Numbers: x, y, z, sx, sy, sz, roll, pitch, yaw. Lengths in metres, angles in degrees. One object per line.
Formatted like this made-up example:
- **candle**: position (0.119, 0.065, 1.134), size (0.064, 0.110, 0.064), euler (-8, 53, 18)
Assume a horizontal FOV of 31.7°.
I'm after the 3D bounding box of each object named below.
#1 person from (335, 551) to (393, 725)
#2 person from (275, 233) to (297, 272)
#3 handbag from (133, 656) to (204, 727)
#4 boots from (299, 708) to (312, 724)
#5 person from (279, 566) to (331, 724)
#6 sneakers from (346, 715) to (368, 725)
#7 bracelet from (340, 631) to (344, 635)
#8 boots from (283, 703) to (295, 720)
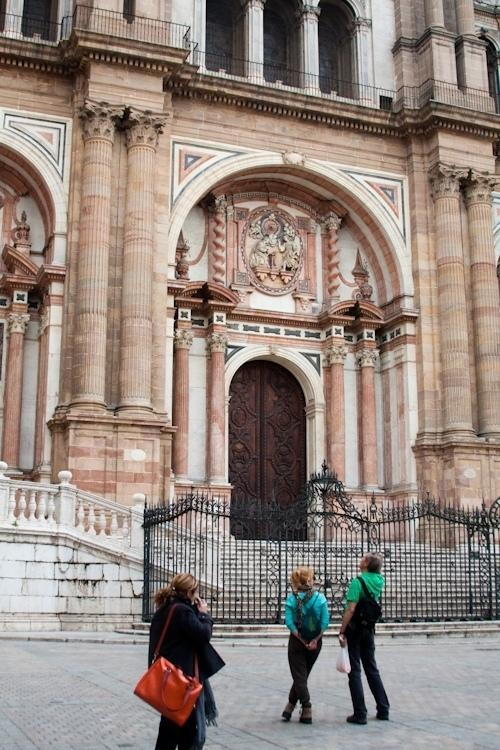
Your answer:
- **person**: position (0.874, 1.980, 6.816), size (0.353, 1.171, 1.013), euler (-3, -11, 8)
- **person**: position (1.172, -3.670, 26.687), size (0.747, 1.249, 0.202), euler (5, -12, -30)
- **handbag**: position (-0.408, 1.614, 4.500), size (0.285, 0.267, 0.136), euler (32, -40, -4)
- **boots**: position (0.398, 2.424, 6.299), size (0.050, 0.105, 0.147), euler (2, -6, -10)
- **person**: position (0.427, 2.039, 6.828), size (0.346, 1.078, 0.999), euler (-2, -10, 5)
- **sneakers**: position (0.759, 2.446, 6.295), size (0.146, 0.058, 0.248), euler (-2, -10, 5)
- **bracelet**: position (0.703, 1.943, 6.687), size (0.023, 0.036, 0.023), euler (3, -8, -8)
- **boots**: position (0.275, 2.423, 6.388), size (0.052, 0.107, 0.155), euler (12, -7, 8)
